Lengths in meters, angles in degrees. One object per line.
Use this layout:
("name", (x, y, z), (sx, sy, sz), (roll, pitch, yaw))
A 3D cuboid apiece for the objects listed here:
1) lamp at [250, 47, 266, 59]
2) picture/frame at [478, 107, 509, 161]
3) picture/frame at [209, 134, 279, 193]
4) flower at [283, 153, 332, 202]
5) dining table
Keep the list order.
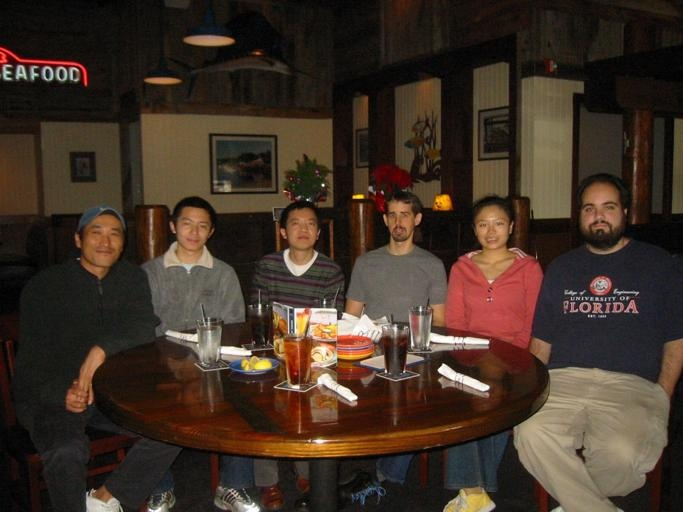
("lamp", (-1.114, -2.721, 7.989), (0.165, 0.158, 0.228), (2, 5, 22))
("picture/frame", (2.018, -1.613, 7.840), (0.032, 0.772, 0.784), (-1, 3, -28))
("picture/frame", (-1.561, -1.422, 9.150), (0.961, 0.790, 0.068), (-3, 7, -21))
("flower", (-0.302, -0.719, 5.602), (0.426, 0.469, 0.441), (-4, 6, -38))
("dining table", (-0.098, 0.512, 2.241), (0.918, 0.564, 0.889), (0, 5, -4))
